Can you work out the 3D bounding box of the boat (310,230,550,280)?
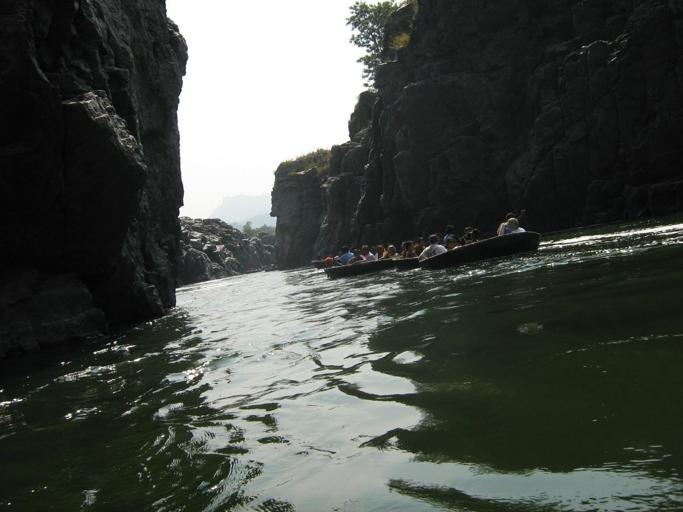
[{"bbox_3d":[2.500,-0.038,17.267,1.266,0.742,5.508,-27,5,-36],"label":"boat"}]
